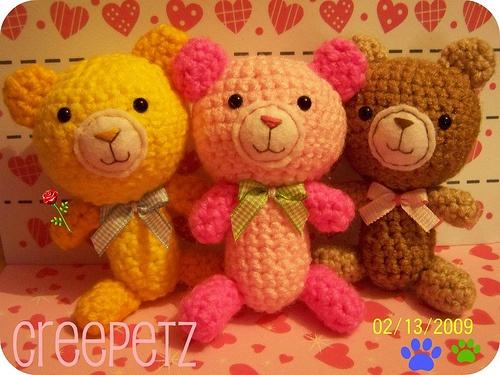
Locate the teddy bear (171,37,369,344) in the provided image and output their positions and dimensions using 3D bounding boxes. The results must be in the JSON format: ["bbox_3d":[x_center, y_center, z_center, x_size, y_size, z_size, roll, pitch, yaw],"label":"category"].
[{"bbox_3d":[0.063,0.003,1.354,0.548,0.697,0.550,-1,36,-9],"label":"teddy bear"}]
